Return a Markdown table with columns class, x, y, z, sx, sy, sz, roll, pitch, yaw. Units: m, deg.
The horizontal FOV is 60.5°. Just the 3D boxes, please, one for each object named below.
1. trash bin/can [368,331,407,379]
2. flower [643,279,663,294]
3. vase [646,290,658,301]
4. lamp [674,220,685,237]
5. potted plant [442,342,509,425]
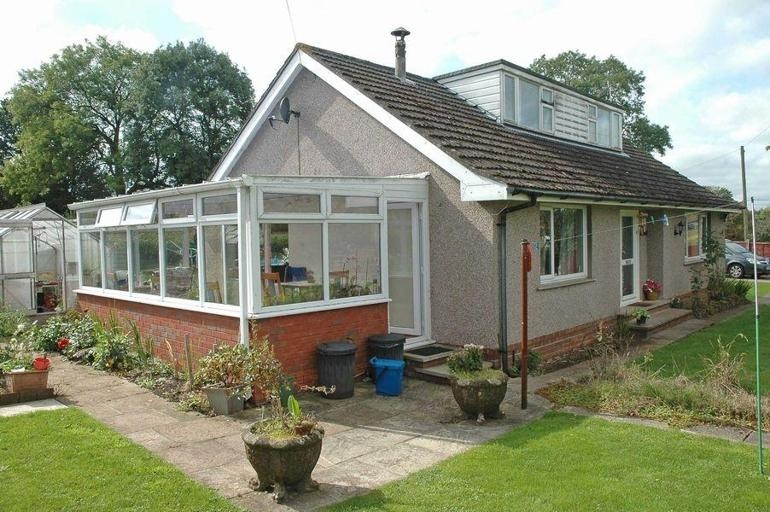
| class | x | y | z | sx | sy | sz | roll | pitch | yaw |
| --- | --- | --- | --- | --- | --- | --- | --- | --- | --- |
| trash bin/can | 0.062 | 2.294 | 15.258 | 0.955 | 0.948 | 0.997 | 0 | -1 | -2 |
| flower | 8.765 | 1.003 | 21.593 | 0.443 | 0.413 | 0.439 | 3 | -7 | -19 |
| vase | 8.713 | 1.311 | 21.579 | 0.363 | 0.273 | 0.362 | 1 | -5 | -4 |
| lamp | 10.270 | -0.973 | 22.999 | 0.135 | 0.544 | 0.839 | -4 | -4 | 40 |
| potted plant | 1.968 | 2.688 | 14.196 | 1.115 | 1.482 | 1.607 | -2 | -3 | 3 |
